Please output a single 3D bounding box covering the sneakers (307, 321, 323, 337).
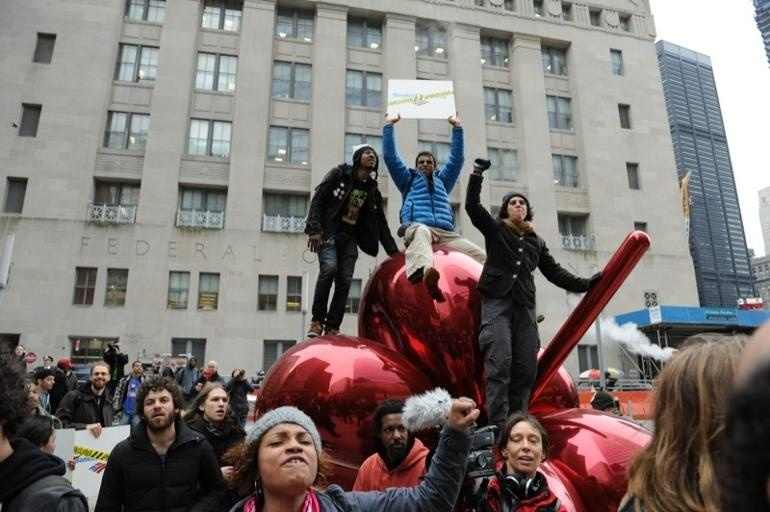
[{"bbox_3d":[-0.862,0.914,6.618,0.112,0.129,0.285,5,-18,9],"label":"sneakers"}]

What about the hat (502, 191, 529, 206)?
[{"bbox_3d":[1.393,-0.622,5.841,0.241,0.127,0.291,-1,2,4],"label":"hat"}]

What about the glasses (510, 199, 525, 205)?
[{"bbox_3d":[1.404,-0.558,5.681,0.080,0.048,0.104,1,-2,3],"label":"glasses"}]

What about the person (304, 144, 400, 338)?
[{"bbox_3d":[-0.422,-0.166,7.220,1.262,2.654,0.849,8,-20,-11],"label":"person"}]

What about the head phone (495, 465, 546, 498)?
[{"bbox_3d":[1.097,1.800,4.359,0.195,0.087,0.225,13,8,-10],"label":"head phone"}]

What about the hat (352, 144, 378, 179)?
[{"bbox_3d":[-0.246,-1.293,7.221,0.373,0.347,0.381,3,-10,-13],"label":"hat"}]

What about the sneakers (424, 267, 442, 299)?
[{"bbox_3d":[0.463,0.283,5.231,0.116,0.361,0.157,-14,18,-8],"label":"sneakers"}]

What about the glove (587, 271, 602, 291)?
[{"bbox_3d":[2.048,0.249,5.236,0.155,0.158,0.051,26,-6,34],"label":"glove"}]

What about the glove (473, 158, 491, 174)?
[{"bbox_3d":[0.958,-0.895,5.353,0.138,0.082,0.194,12,29,-2],"label":"glove"}]
